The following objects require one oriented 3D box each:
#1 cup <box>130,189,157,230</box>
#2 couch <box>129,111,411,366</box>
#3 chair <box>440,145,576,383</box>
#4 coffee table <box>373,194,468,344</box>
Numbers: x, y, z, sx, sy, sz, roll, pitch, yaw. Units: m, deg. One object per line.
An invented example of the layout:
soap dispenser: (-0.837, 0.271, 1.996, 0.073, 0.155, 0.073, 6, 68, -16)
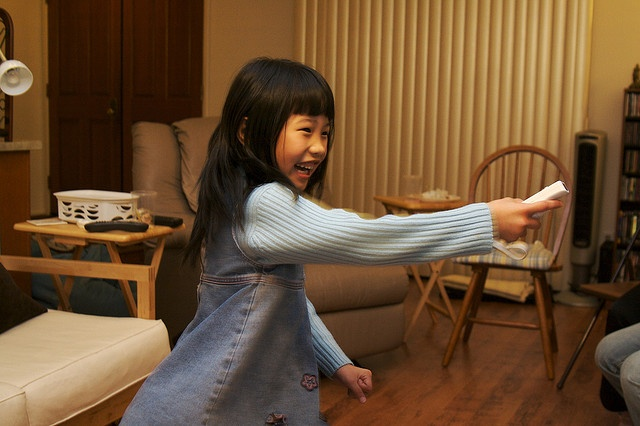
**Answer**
cup: (-0.838, -0.015, 2.645, 0.161, 0.213, 0.130, -1, -6, -5)
couch: (-0.133, 0.203, 3.706, 1.505, 1.812, 1.305, 1, 1, 28)
chair: (1.159, 0.220, 3.329, 0.665, 1.361, 0.621, 5, 4, 44)
coffee table: (0.670, 0.424, 3.974, 0.692, 0.957, 0.757, -10, 3, 0)
